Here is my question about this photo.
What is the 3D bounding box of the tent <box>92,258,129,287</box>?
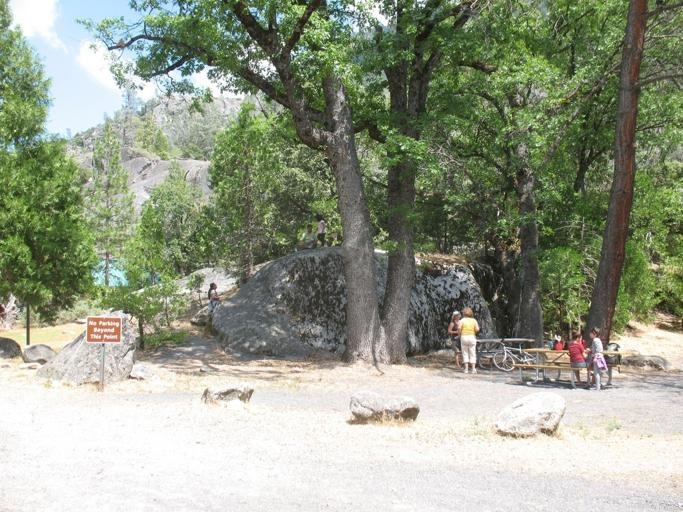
[{"bbox_3d":[-9.028,0.594,30.280,0.952,1.589,1.310,-7,-11,5],"label":"tent"}]

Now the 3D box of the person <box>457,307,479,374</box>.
[{"bbox_3d":[4.314,2.854,26.451,0.644,2.203,1.407,2,7,8],"label":"person"}]

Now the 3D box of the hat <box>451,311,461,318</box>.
[{"bbox_3d":[4.237,2.139,28.913,0.177,0.211,0.269,2,-46,-4],"label":"hat"}]
